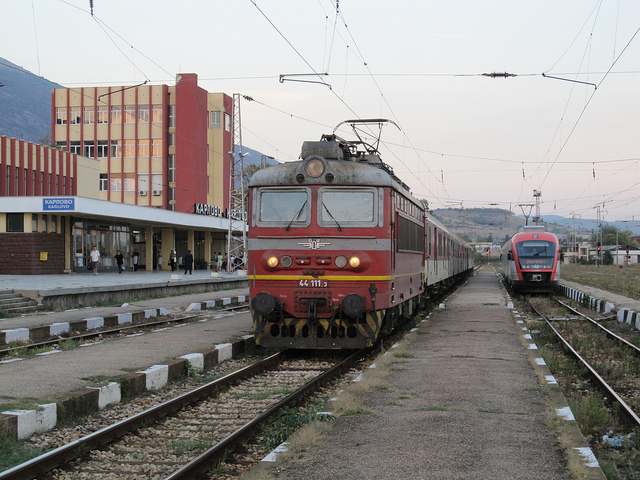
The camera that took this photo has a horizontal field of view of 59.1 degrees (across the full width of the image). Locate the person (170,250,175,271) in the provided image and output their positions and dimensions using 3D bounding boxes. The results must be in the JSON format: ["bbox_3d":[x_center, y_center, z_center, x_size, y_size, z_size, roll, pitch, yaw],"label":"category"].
[{"bbox_3d":[-11.878,1.605,45.761,0.239,1.088,1.875,-2,-2,-14],"label":"person"}]

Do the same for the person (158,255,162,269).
[{"bbox_3d":[-14.590,2.034,51.825,0.337,0.913,1.518,-2,-2,-17],"label":"person"}]

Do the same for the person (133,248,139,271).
[{"bbox_3d":[-15.759,1.795,48.558,0.385,1.299,2.017,-2,-2,-17],"label":"person"}]
